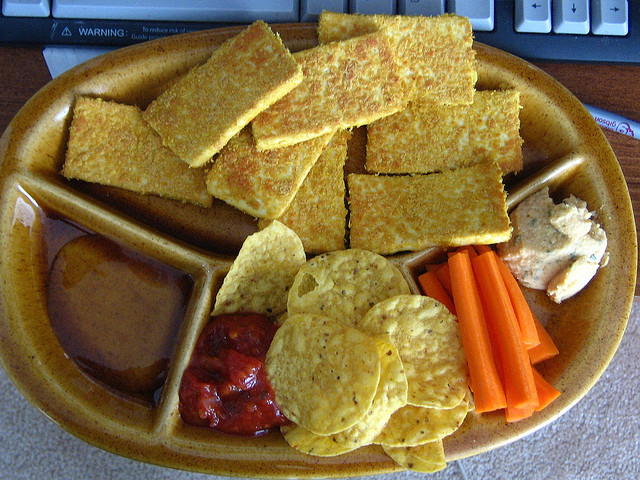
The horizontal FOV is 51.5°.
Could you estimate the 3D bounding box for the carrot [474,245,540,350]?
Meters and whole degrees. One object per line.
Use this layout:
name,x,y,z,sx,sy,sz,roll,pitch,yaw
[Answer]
carrot,0.698,0.238,2.555,0.084,0.459,0.085,-22,19,14

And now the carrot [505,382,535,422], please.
carrot,0.752,0.633,2.524,0.099,0.130,0.033,4,20,0

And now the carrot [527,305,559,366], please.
carrot,0.871,0.416,2.631,0.156,0.191,0.061,-2,-17,-30

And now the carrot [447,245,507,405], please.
carrot,0.614,0.228,2.650,0.114,0.831,0.058,-14,-17,8
